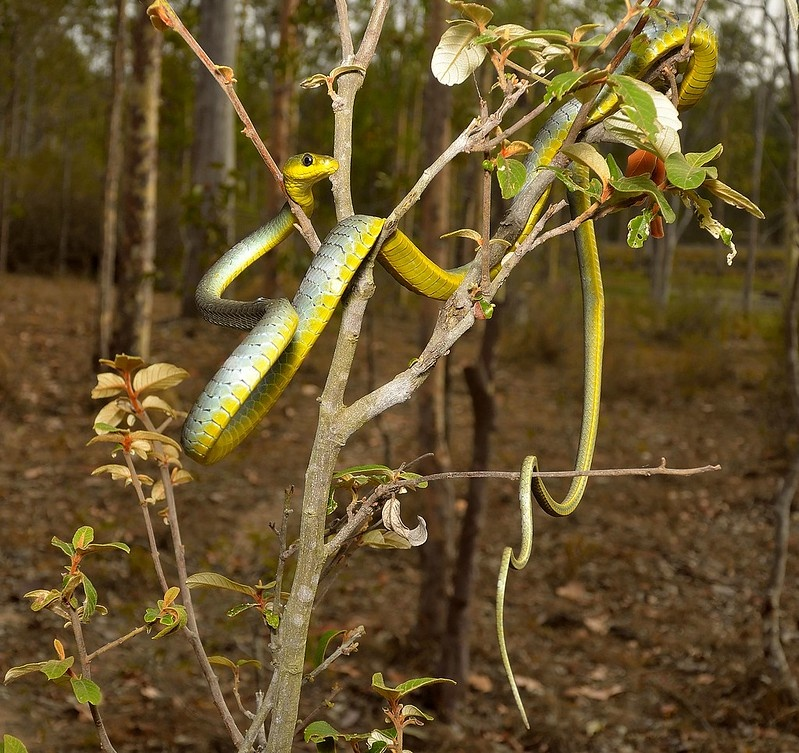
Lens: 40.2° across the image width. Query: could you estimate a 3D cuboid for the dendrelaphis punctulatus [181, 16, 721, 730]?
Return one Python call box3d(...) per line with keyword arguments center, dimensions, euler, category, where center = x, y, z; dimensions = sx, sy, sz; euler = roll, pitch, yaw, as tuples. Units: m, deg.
box3d(center=(0.168, -0.268, 3.348), dimensions=(1.681, 1.212, 2.093), euler=(-16, 11, -26), category="dendrelaphis punctulatus")
